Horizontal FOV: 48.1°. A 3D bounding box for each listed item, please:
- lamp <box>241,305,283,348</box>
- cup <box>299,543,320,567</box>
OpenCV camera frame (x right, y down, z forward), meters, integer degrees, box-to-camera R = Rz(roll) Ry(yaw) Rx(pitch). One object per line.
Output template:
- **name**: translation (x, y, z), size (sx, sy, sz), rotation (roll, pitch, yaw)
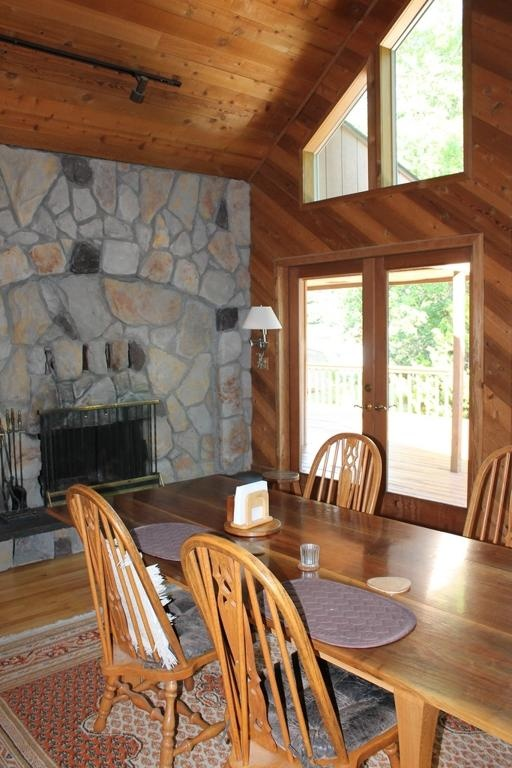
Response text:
- **lamp**: translation (0.068, -0.418, 4.396), size (0.332, 0.390, 0.343), rotation (-2, 13, 0)
- **cup**: translation (0.148, 0.473, 1.575), size (0.060, 0.069, 0.061), rotation (0, 14, 0)
